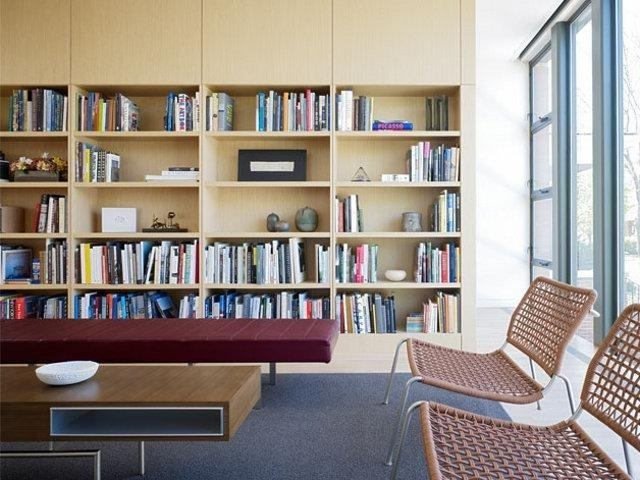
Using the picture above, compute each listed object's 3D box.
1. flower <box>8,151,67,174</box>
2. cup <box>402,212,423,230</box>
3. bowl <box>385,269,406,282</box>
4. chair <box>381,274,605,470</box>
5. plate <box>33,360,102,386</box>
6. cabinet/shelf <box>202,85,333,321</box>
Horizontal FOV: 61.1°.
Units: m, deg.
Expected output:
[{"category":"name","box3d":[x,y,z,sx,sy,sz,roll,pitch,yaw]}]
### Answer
[{"category":"flower","box3d":[-2.332,-0.623,4.535,0.294,0.128,0.273,-1,-1,9]},{"category":"cup","box3d":[0.766,-0.150,4.541,0.153,0.144,0.150,1,-4,0]},{"category":"bowl","box3d":[0.626,0.300,4.595,0.118,0.062,0.115,1,3,0]},{"category":"chair","box3d":[1.037,0.661,3.222,1.325,1.043,0.829,-1,2,-7]},{"category":"plate","box3d":[-1.328,0.700,2.863,0.180,0.052,0.161,4,1,-1]},{"category":"cabinet/shelf","box3d":[-0.468,-0.642,4.497,0.988,1.380,0.375,1,21,-5]}]
